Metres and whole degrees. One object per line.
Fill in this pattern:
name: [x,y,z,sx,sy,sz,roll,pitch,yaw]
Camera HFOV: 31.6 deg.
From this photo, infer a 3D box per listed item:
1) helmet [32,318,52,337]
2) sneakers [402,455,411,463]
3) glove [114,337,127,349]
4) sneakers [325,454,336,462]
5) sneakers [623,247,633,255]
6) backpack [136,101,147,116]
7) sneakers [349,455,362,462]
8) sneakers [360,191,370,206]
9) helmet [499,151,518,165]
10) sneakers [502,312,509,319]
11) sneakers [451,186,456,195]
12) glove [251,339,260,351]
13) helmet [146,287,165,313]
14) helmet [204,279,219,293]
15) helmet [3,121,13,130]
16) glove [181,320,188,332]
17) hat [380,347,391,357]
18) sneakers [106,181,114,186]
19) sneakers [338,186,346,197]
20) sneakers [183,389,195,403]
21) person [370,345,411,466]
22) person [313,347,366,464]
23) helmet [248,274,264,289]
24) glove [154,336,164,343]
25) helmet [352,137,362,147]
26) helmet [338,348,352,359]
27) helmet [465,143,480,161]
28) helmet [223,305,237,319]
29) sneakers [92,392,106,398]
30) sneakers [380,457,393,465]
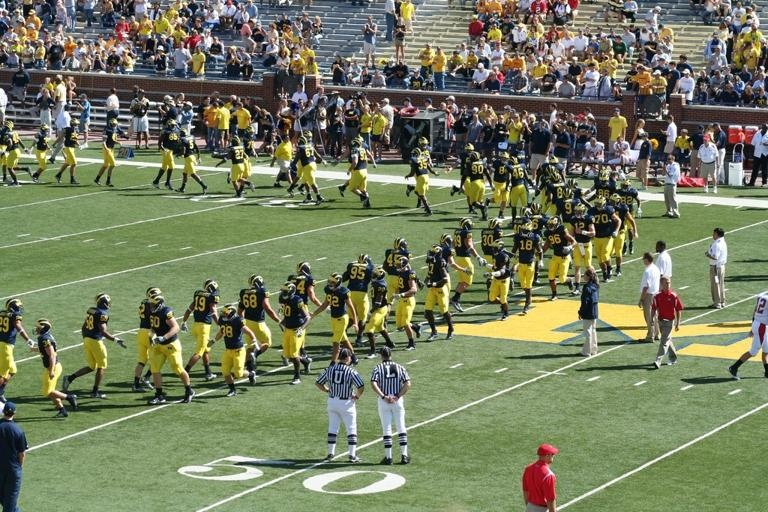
helmet: [-6.917,1.429,27.643,0.269,0.305,0.243,-8,9,-30]
sneakers: [0.428,3.871,26.297,0.094,0.111,0.177,7,15,22]
glove: [-5.535,1.808,28.563,0.267,0.135,0.390,1,16,-31]
sneakers: [-1.038,3.824,26.326,0.093,0.105,0.242,9,28,20]
sneakers: [6.768,-0.180,37.858,0.239,0.235,0.477,-3,8,-1]
backpack: [-9.003,-5.483,50.745,0.443,0.382,0.162,-2,-4,-22]
sneakers: [-0.562,3.857,26.252,0.089,0.107,0.279,6,6,42]
sneakers: [-0.589,-1.769,42.109,0.186,0.493,0.222,-21,-6,1]
helmet: [3.670,-2.831,40.478,0.564,0.277,0.388,28,26,10]
sneakers: [2.924,1.378,32.922,0.181,0.203,0.359,-2,8,5]
sneakers: [2.183,-2.001,42.395,0.116,0.312,0.139,21,41,17]
glove: [-2.789,1.886,29.547,0.203,0.297,0.459,-4,8,-5]
helmet: [-4.825,0.916,28.698,0.432,0.373,0.341,10,30,21]
helmet: [-3.715,0.622,29.140,0.271,0.272,0.582,-4,8,-10]
helmet: [-12.079,-4.211,43.811,0.267,0.325,0.341,12,3,25]
glove: [-4.314,1.493,29.412,0.143,0.152,0.359,2,8,1]
hat: [0.031,1.815,26.029,0.172,0.184,0.190,1,-31,0]
sneakers: [-9.029,-2.387,44.826,0.197,0.180,0.369,-5,8,-12]
sneakers: [-1.311,-2.052,42.759,0.152,0.178,0.418,8,-28,3]
sneakers: [-4.080,2.889,28.490,0.140,0.157,0.384,4,23,5]
person: [0.141,2.841,26.173,0.702,2.249,0.459,-3,9,0]
person: [-0.832,2.823,26.247,0.822,2.200,0.699,-6,9,-16]
helmet: [-2.742,0.531,29.556,0.298,0.315,0.319,3,-4,-21]
glove: [-4.672,1.713,28.200,0.244,0.145,0.073,0,9,20]
helmet: [-0.818,-3.464,41.229,0.313,0.279,0.228,3,15,-16]
helmet: [-0.780,1.797,25.932,0.224,0.248,0.266,2,-10,20]
helmet: [2.687,-3.092,40.841,0.498,0.517,0.587,-1,-12,-15]
helmet: [-3.232,1.126,28.516,0.255,0.251,0.241,-4,8,-6]
sneakers: [-5.978,2.882,28.653,0.359,0.110,0.228,0,10,0]
sneakers: [0.052,3.902,26.270,0.103,0.108,0.270,0,2,-34]
